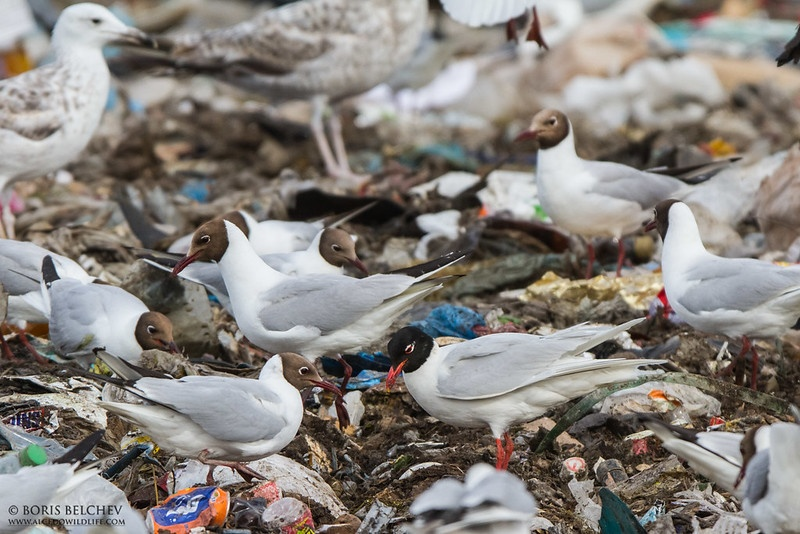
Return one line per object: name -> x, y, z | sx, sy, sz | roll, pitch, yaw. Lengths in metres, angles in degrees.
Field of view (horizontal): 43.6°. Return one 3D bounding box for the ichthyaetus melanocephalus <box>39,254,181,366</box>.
ichthyaetus melanocephalus -> -2.507, 0.381, 8.277 | 1.219, 0.731, 0.560 | 38, 35, 13
